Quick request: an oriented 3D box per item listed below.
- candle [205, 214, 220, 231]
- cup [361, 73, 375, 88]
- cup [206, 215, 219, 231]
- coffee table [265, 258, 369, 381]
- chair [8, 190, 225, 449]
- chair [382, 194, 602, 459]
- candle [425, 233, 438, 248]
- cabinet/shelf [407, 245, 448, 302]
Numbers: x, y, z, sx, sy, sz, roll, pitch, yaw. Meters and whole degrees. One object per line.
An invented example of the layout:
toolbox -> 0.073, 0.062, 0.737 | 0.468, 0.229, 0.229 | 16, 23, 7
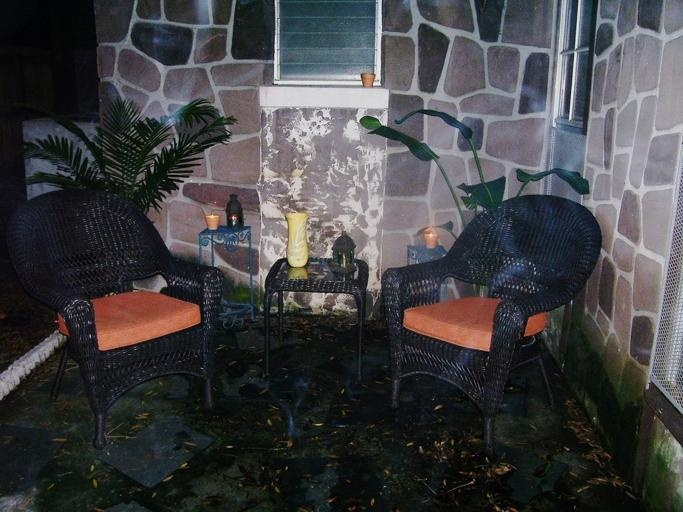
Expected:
candle -> -1.090, -0.286, 4.318 | 0.116, 0.137, 0.120 | -3, 18, -17
cup -> 0.220, -1.445, 4.248 | 0.122, 0.102, 0.128 | 0, 16, 0
cup -> -1.090, -0.283, 4.325 | 0.110, 0.128, 0.110 | 2, 15, -1
coffee table -> -0.170, 0.329, 3.715 | 0.761, 0.654, 0.801 | 2, 14, 3
chair -> -1.373, 0.294, 3.165 | 1.099, 1.284, 0.957 | 16, 20, 40
chair -> 0.936, 0.332, 3.139 | 1.195, 1.384, 1.203 | -3, 12, -12
candle -> 0.750, -0.125, 4.254 | 0.110, 0.171, 0.110 | 0, 16, 8
cabinet/shelf -> 0.779, 0.195, 4.389 | 0.295, 0.535, 0.293 | 5, 17, 21
